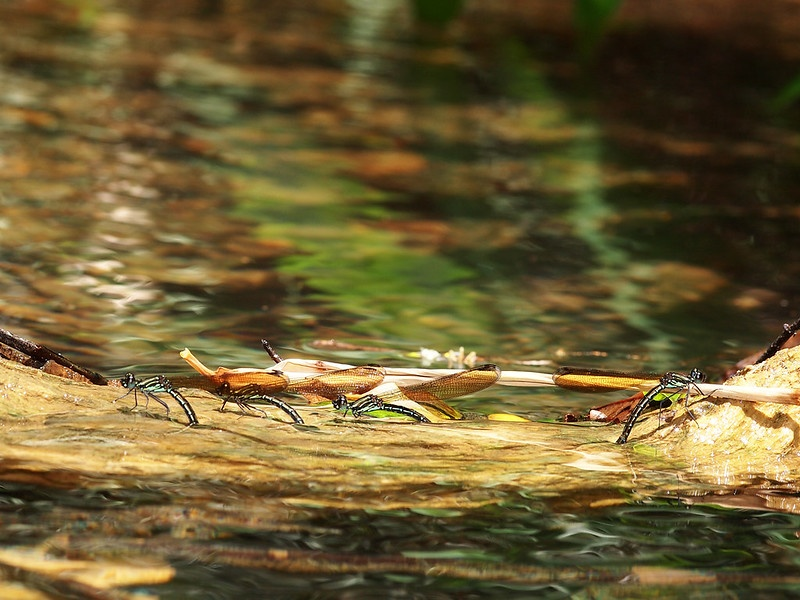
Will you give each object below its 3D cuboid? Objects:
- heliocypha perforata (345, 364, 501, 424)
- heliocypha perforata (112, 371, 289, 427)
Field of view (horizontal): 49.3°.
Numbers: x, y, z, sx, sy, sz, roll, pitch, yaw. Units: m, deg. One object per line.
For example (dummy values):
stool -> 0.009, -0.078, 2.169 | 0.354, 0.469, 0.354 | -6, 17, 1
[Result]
heliocypha perforata -> 0.013, 0.210, 1.876 | 0.374, 0.098, 0.055 | -5, 81, -13
heliocypha perforata -> -0.379, 0.191, 1.688 | 0.314, 0.033, 0.136 | 3, -1, 3
